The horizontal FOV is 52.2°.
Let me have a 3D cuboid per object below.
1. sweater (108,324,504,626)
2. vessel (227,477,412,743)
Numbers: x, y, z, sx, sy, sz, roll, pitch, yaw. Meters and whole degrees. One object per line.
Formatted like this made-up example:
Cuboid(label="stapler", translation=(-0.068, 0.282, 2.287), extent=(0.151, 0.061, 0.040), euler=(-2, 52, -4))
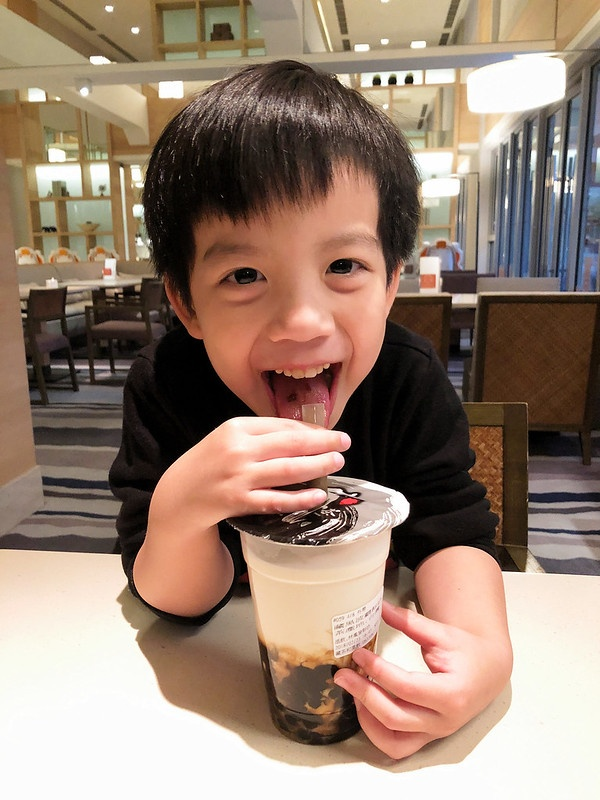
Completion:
Cuboid(label="sweater", translation=(0.129, 0.059, 0.845), extent=(0.248, 0.286, 0.349), euler=(-20, 9, -11))
Cuboid(label="vessel", translation=(0.007, 0.140, 0.544), extent=(0.176, 0.193, 0.173), euler=(5, 15, 23))
